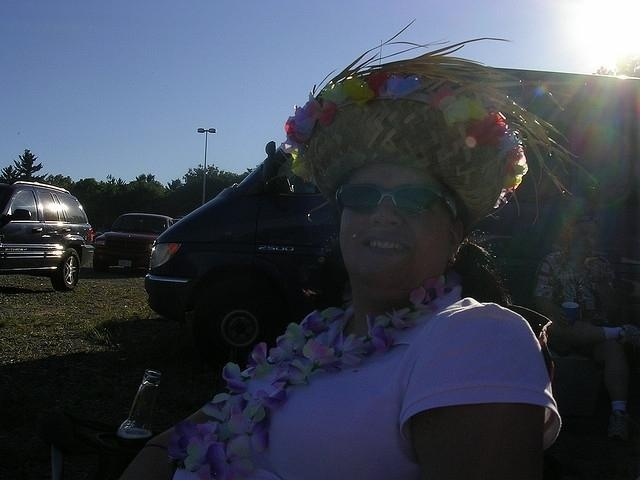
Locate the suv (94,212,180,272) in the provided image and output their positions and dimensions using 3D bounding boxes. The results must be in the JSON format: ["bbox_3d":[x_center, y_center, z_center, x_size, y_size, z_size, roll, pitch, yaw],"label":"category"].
[{"bbox_3d":[-5.201,0.029,14.453,1.700,1.652,3.354,0,-6,7],"label":"suv"}]

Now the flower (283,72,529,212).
[{"bbox_3d":[0.322,-0.346,1.703,0.632,0.267,0.643,20,-12,-19],"label":"flower"}]

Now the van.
[{"bbox_3d":[0.598,-0.185,4.895,4.055,2.356,2.281,5,-4,1],"label":"van"}]

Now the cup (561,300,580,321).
[{"bbox_3d":[1.825,0.517,3.685,0.120,0.135,0.125,-8,12,2],"label":"cup"}]

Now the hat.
[{"bbox_3d":[0.312,-0.352,1.702,0.627,0.285,0.638,18,-11,-12],"label":"hat"}]

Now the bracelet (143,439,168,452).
[{"bbox_3d":[-0.604,0.765,1.874,0.054,0.014,0.060,0,19,-10],"label":"bracelet"}]
